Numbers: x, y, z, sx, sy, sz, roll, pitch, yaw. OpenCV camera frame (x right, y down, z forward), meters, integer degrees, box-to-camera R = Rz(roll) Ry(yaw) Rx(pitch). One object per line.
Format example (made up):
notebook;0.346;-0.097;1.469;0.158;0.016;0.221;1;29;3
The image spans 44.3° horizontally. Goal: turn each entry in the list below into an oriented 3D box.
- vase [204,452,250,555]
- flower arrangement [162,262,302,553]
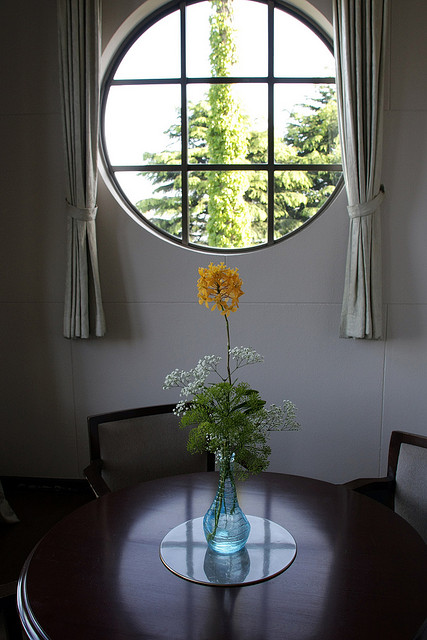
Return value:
vase;0.034;0.455;1.365;0.191;0.207;0.214;0;4;9
flower arrangement;0.043;0.210;1.320;0.346;0.717;0.284;-2;-4;16
